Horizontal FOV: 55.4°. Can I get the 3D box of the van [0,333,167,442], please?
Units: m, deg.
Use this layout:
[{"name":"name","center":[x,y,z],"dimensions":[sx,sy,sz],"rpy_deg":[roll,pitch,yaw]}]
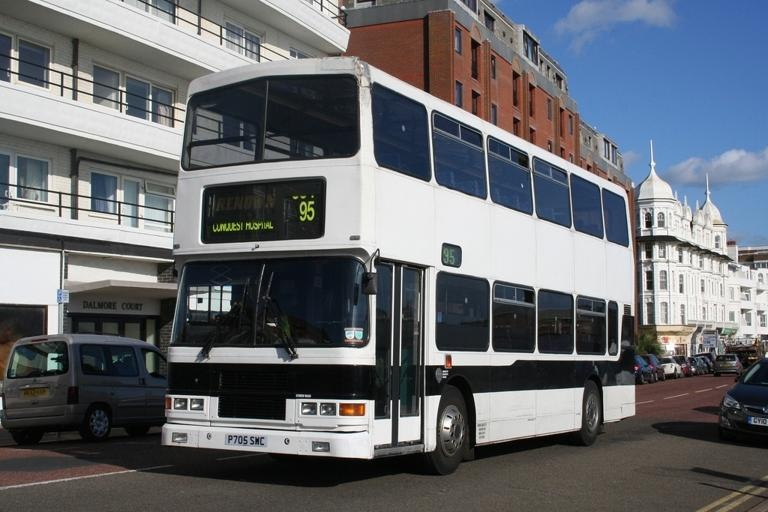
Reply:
[{"name":"van","center":[-7.598,3.296,20.005],"dimensions":[2.510,2.453,4.821],"rpy_deg":[-4,-5,28]}]
